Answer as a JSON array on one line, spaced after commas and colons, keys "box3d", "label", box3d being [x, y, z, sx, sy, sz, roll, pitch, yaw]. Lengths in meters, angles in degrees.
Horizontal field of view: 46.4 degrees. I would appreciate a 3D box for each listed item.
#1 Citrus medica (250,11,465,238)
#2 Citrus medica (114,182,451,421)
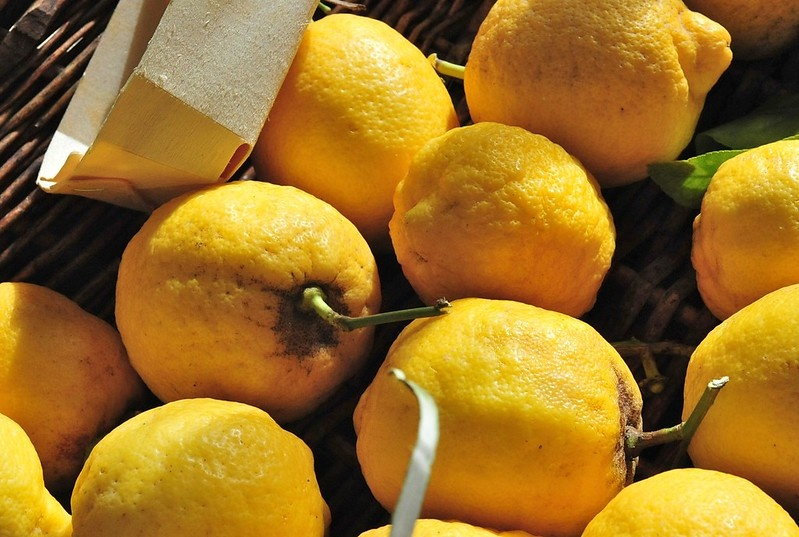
[{"box3d": [-0.063, -0.239, 1.536, 0.341, 0.272, 0.279, 52, 33, 1], "label": "Citrus medica"}, {"box3d": [-0.171, 0.047, 1.487, 0.413, 0.362, 0.382, -16, 62, 1], "label": "Citrus medica"}]
